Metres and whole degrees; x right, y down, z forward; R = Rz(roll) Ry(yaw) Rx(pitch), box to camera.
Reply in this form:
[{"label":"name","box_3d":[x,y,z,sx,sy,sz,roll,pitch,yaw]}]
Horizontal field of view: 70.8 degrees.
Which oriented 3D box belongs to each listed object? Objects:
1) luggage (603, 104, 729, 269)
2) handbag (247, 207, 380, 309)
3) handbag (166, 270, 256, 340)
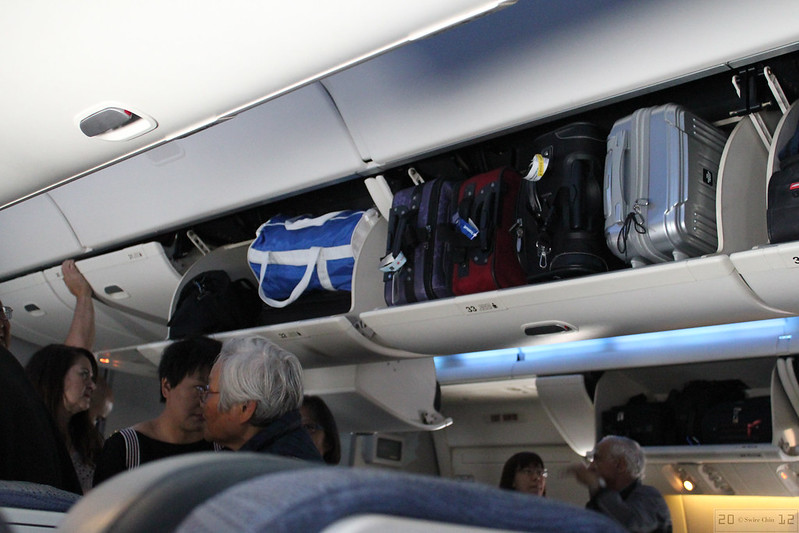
[{"label":"luggage","box_3d":[1.336,-0.377,2.819,0.610,0.859,0.464,17,-25,-37]},{"label":"handbag","box_3d":[-0.640,-0.060,4.066,1.034,0.621,0.458,-8,6,33]},{"label":"handbag","box_3d":[-1.493,0.314,4.484,0.658,0.693,0.488,-4,23,-23]}]
